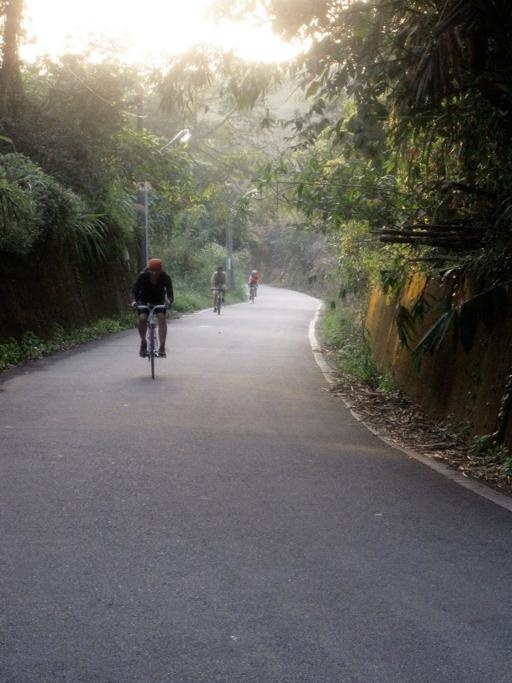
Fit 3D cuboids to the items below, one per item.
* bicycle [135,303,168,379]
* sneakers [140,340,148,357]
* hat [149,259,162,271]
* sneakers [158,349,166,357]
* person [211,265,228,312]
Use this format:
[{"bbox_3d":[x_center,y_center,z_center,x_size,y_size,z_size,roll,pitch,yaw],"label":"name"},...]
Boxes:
[{"bbox_3d":[-1.883,-0.034,11.100,0.514,1.303,1.688,1,1,-4],"label":"bicycle"},{"bbox_3d":[-1.979,0.114,10.838,0.115,0.300,0.276,1,0,-11],"label":"sneakers"},{"bbox_3d":[-1.799,-1.399,10.879,0.171,0.250,0.269,4,34,-1],"label":"hat"},{"bbox_3d":[-1.659,0.182,10.804,0.088,0.140,0.119,-1,-14,-2],"label":"sneakers"},{"bbox_3d":[-1.825,-2.030,28.983,0.914,1.686,2.514,1,-1,-7],"label":"person"}]
